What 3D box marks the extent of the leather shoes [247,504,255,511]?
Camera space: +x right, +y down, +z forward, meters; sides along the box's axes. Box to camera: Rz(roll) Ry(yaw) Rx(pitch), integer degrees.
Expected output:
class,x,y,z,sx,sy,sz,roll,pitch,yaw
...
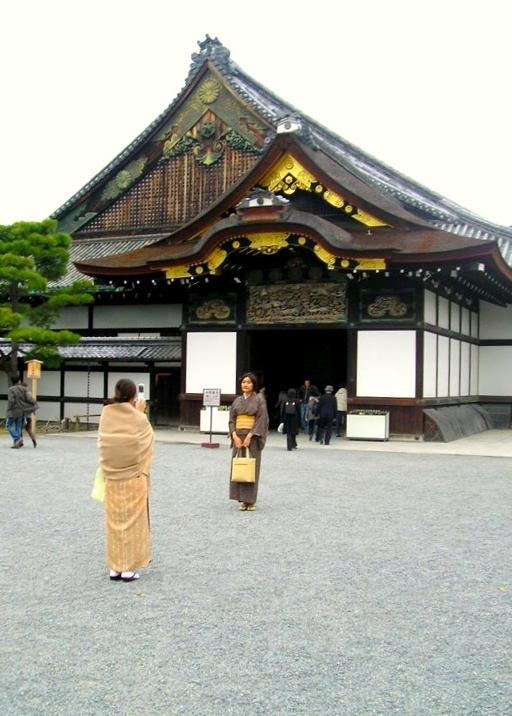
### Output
class,x,y,z,sx,sy,sz,roll,pitch,yaw
leather shoes,-0.060,1.722,7.978,0.057,0.063,0.158,-1,-12,4

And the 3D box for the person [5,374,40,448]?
class,x,y,z,sx,sy,sz,roll,pitch,yaw
person,-5.090,1.173,15.062,0.633,1.494,1.785,4,-3,-19

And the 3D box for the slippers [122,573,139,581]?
class,x,y,z,sx,sy,sz,roll,pitch,yaw
slippers,-0.933,1.630,5.121,0.051,0.052,0.125,4,4,22

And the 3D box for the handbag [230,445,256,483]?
class,x,y,z,sx,sy,sz,roll,pitch,yaw
handbag,-0.140,1.259,8.040,0.280,0.401,0.303,3,-3,0

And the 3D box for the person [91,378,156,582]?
class,x,y,z,sx,sy,sz,roll,pitch,yaw
person,-0.992,0.913,5.230,0.430,1.473,0.288,4,-3,-11

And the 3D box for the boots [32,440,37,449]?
class,x,y,z,sx,sy,sz,roll,pitch,yaw
boots,-4.710,1.828,14.651,0.088,0.184,0.184,-4,3,-4

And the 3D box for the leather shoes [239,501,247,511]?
class,x,y,z,sx,sy,sz,roll,pitch,yaw
leather shoes,-0.146,1.721,8.026,0.091,0.089,0.237,-1,-12,2
